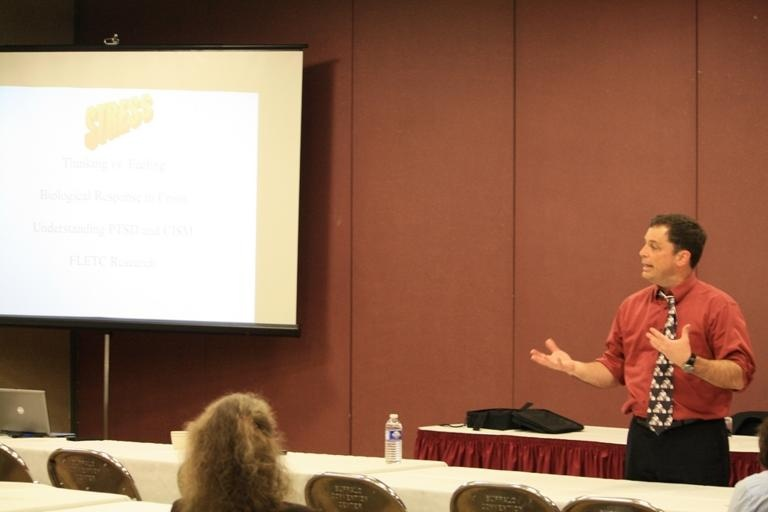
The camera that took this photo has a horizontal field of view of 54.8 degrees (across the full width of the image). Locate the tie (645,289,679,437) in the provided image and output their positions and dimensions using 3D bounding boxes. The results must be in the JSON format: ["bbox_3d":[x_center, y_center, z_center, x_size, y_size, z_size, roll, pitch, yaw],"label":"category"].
[{"bbox_3d":[1.579,0.587,4.176,0.138,0.797,0.202,-2,-3,38],"label":"tie"}]

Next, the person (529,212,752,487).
[{"bbox_3d":[1.741,0.628,4.906,0.840,2.290,1.154,19,-24,-37],"label":"person"}]
